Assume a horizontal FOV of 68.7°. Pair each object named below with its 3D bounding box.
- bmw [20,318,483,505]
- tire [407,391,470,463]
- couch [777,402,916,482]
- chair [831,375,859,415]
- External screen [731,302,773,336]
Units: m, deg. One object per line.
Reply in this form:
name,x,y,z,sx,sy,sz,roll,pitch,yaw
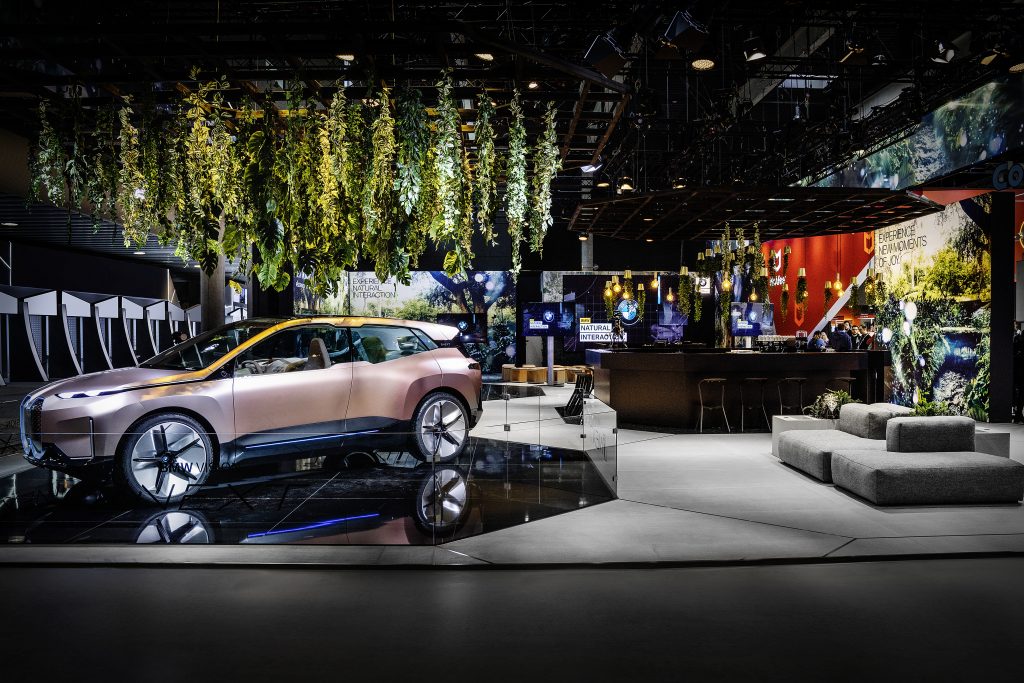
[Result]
bmw,-2.266,0.562,7.520,4.325,1.530,1.916,3,-3,-19
tire,-0.716,0.841,7.274,0.515,0.563,0.198,10,-26,-32
couch,4.157,1.182,9.419,1.072,0.691,1.120,1,-3,4
chair,5.206,0.811,11.765,0.400,0.555,0.413,-1,-6,15
External screen,6.319,-0.622,19.844,0.896,0.633,0.120,-2,-2,-9
